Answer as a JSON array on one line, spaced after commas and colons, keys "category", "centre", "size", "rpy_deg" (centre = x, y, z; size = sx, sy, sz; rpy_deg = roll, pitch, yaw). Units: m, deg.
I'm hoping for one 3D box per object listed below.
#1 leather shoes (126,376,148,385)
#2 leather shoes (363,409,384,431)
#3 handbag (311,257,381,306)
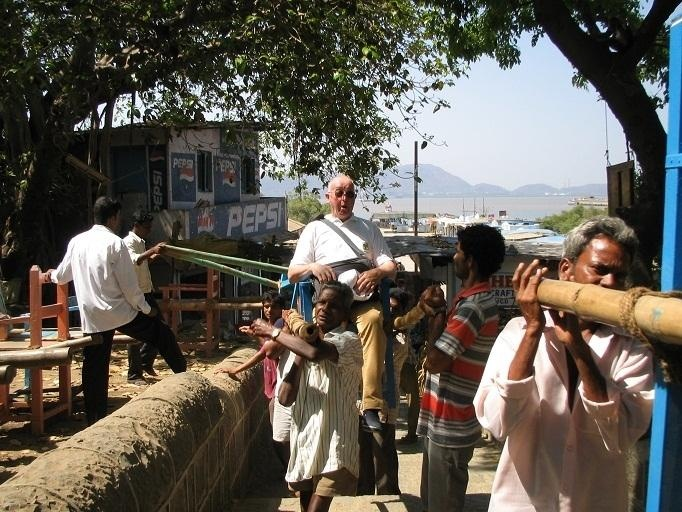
[{"category": "leather shoes", "centre": [-2.925, 1.797, 8.960], "size": [0.231, 0.110, 0.132], "rpy_deg": [-10, -14, 34]}, {"category": "leather shoes", "centre": [0.246, 1.302, 4.923], "size": [0.103, 0.186, 0.179], "rpy_deg": [3, -13, -15]}, {"category": "handbag", "centre": [0.049, 0.188, 5.318], "size": [0.585, 0.367, 0.368], "rpy_deg": [-1, 2, -3]}]
